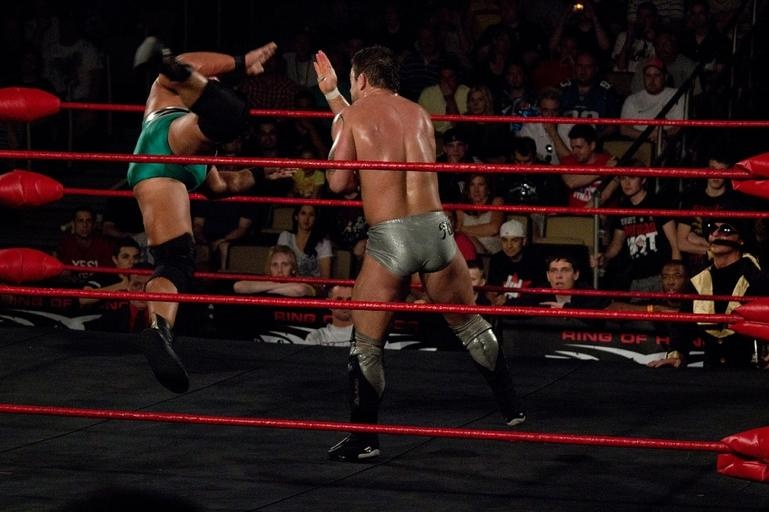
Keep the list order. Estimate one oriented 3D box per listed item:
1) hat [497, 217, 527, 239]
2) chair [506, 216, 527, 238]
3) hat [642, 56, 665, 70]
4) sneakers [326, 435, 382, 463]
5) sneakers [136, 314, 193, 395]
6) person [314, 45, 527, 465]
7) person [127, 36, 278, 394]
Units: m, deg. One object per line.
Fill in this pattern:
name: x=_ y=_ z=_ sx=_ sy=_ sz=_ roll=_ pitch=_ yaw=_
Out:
hat: x=1.000 y=-0.213 z=6.488 sx=0.214 sy=0.101 sz=0.176 roll=1 pitch=0 yaw=3
chair: x=1.011 y=-0.216 z=6.520 sx=0.186 sy=0.107 sz=0.205 roll=1 pitch=-1 yaw=5
hat: x=2.382 y=-1.699 z=7.460 sx=0.166 sy=0.122 sz=0.144 roll=1 pitch=5 yaw=13
sneakers: x=-0.131 y=0.889 z=3.895 sx=0.255 sy=0.098 sz=0.120 roll=2 pitch=-3 yaw=0
sneakers: x=-0.992 y=0.462 z=3.845 sx=0.190 sy=0.372 sz=0.287 roll=-1 pitch=5 yaw=-11
person: x=0.160 y=-0.031 z=3.941 sx=0.811 sy=1.945 sz=0.939 roll=1 pitch=5 yaw=12
person: x=-0.859 y=-0.212 z=4.029 sx=0.693 sy=1.674 sz=0.942 roll=-1 pitch=5 yaw=-13
